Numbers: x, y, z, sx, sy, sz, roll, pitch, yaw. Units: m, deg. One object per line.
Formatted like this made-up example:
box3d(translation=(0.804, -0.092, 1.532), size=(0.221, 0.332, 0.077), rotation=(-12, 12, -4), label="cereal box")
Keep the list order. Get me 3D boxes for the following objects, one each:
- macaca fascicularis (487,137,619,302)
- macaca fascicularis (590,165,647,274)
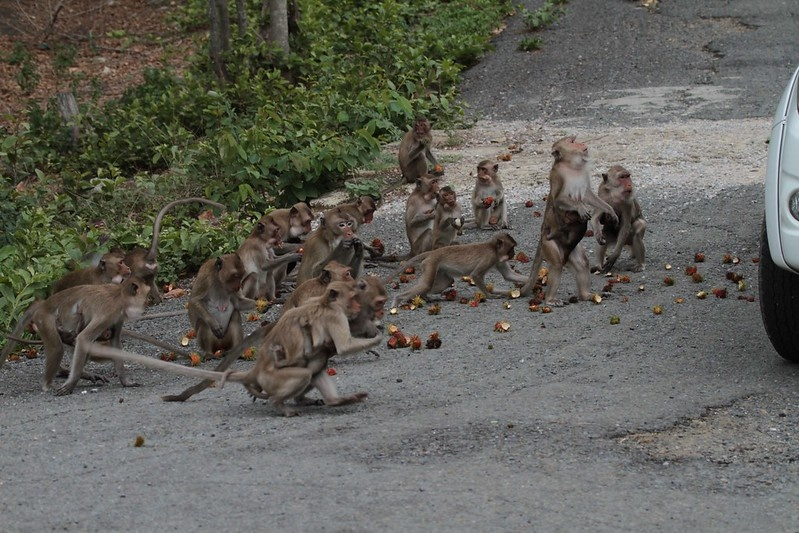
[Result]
box3d(translation=(2.179, -0.595, 12.799), size=(1.668, 2.178, 0.933), rotation=(-1, 4, 44), label="macaca fascicularis")
box3d(translation=(3.153, -0.610, 13.623), size=(0.693, 1.452, 2.078), rotation=(5, -3, 21), label="macaca fascicularis")
